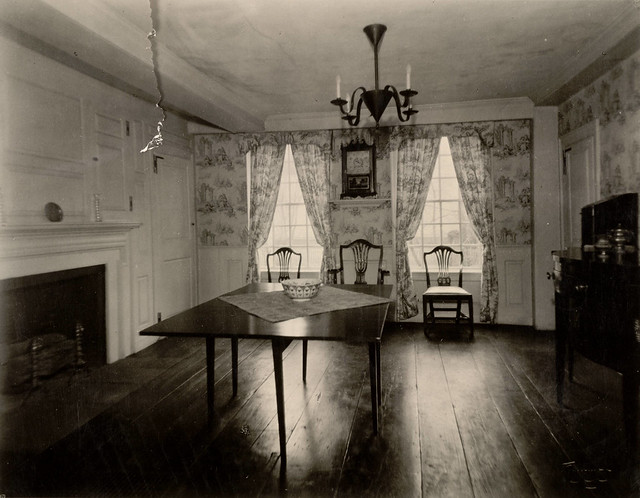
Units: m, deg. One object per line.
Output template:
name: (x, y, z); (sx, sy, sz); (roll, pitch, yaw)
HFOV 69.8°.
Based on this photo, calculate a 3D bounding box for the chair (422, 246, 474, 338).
chair: (1.120, 0.354, 4.023); (0.469, 0.717, 0.718); (3, 12, 17)

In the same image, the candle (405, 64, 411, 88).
candle: (0.453, -0.878, 2.351); (0.012, 0.108, 0.093); (3, 12, 17)

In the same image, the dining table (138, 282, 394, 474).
dining table: (-0.154, 0.394, 2.362); (0.782, 0.616, 1.126); (-1, -1, 10)

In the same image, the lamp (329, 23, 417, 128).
lamp: (0.356, -1.191, 3.066); (0.577, 0.785, 0.646); (-2, -10, 5)

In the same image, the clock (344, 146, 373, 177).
clock: (0.375, -0.845, 4.359); (0.227, 0.244, 0.085); (0, 5, 8)

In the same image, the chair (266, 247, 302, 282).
chair: (-0.331, 0.139, 4.353); (0.284, 0.571, 0.342); (0, -3, 1)
